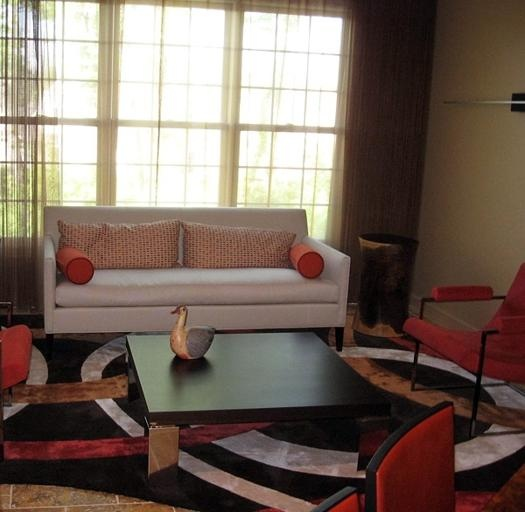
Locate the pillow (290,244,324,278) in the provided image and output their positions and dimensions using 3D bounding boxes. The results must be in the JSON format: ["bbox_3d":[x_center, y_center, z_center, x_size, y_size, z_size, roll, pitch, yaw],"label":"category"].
[{"bbox_3d":[0.350,0.062,4.021,0.220,0.184,0.457,-16,2,-8],"label":"pillow"}]

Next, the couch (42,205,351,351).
[{"bbox_3d":[-0.506,0.142,3.879,2.302,1.020,0.912,1,10,-13],"label":"couch"}]

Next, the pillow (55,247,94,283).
[{"bbox_3d":[-1.300,0.063,3.483,0.179,0.197,0.400,-2,10,-30],"label":"pillow"}]
